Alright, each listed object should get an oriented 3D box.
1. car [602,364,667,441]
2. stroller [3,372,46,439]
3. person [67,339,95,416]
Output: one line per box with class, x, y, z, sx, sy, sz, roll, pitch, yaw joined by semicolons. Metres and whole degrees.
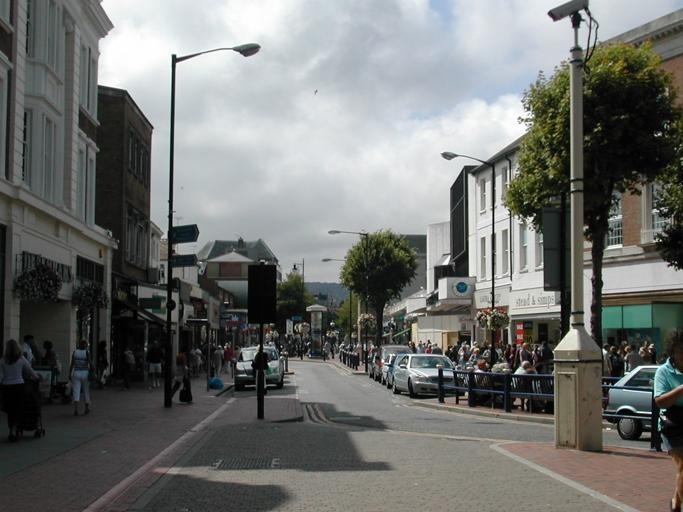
car;6.657;3.336;18.369;1.017;1.998;1.138;-3;-2;0
stroller;-6.935;3.234;17.594;0.808;1.513;0.898;3;-2;34
person;-7.431;3.404;22.891;0.552;2.127;1.302;1;-9;-18
